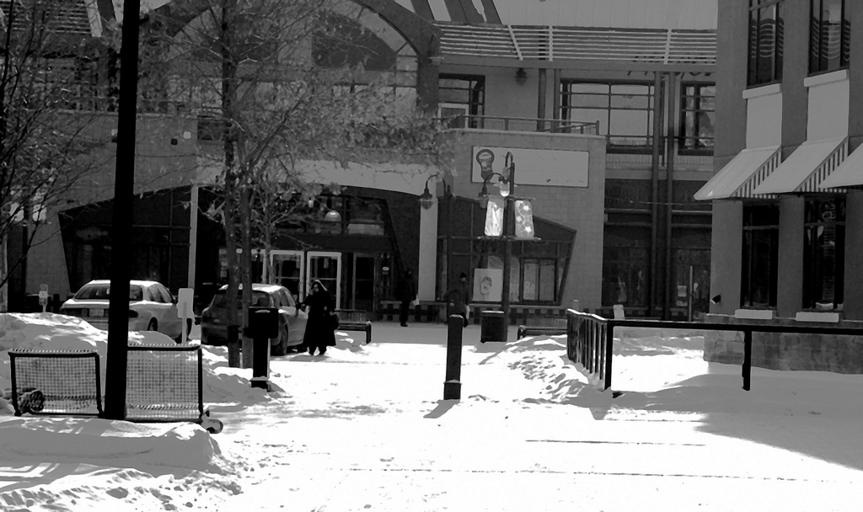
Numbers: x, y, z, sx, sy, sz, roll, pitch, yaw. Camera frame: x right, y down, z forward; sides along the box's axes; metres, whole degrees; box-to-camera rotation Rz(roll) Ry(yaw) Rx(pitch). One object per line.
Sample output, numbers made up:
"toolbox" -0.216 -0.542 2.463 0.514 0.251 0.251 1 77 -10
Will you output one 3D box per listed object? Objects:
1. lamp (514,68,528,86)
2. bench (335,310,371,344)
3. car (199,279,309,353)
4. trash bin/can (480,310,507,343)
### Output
"lamp" 3.876 -7.828 60.756 0.510 0.694 0.501 -1 1 -36
"bench" -2.769 2.280 45.456 1.403 0.973 0.531 3 7 1
"car" -4.702 1.738 39.304 1.762 1.374 3.124 1 3 15
"trash bin/can" 1.849 2.165 42.779 0.838 1.117 0.862 1 -1 -3
